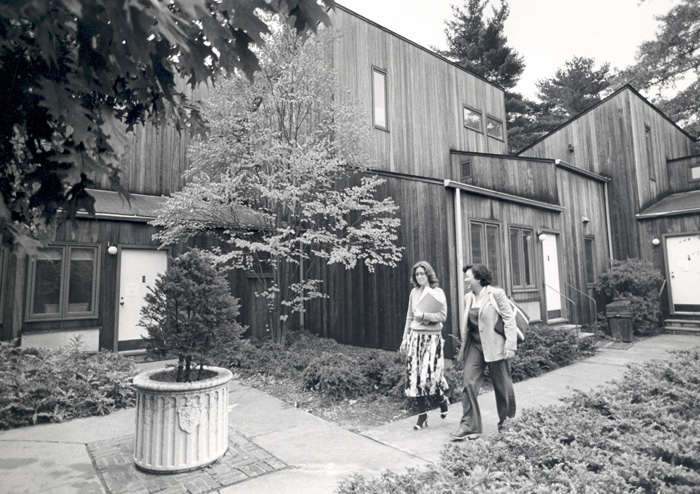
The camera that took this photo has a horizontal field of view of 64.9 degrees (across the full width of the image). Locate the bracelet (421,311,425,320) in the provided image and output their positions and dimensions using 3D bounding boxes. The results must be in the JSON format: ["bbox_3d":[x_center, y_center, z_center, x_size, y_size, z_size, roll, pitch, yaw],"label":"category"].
[{"bbox_3d":[1.039,0.960,7.825,0.042,0.120,0.104,-4,9,-26],"label":"bracelet"}]

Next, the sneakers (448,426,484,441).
[{"bbox_3d":[1.522,2.478,7.288,0.405,0.237,0.183,6,-22,-4],"label":"sneakers"}]

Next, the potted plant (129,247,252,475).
[{"bbox_3d":[-2.075,1.346,6.943,1.356,2.549,0.984,-4,9,-26],"label":"potted plant"}]

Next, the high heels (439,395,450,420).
[{"bbox_3d":[1.360,2.279,8.023,0.143,0.409,0.122,8,-9,-26],"label":"high heels"}]

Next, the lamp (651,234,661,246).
[{"bbox_3d":[8.809,-0.195,15.888,0.099,0.297,0.244,-6,10,-38],"label":"lamp"}]

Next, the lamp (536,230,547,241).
[{"bbox_3d":[4.676,-0.299,13.512,0.182,0.271,0.274,1,-9,-7],"label":"lamp"}]

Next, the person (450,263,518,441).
[{"bbox_3d":[1.857,1.374,7.457,0.767,2.182,0.896,2,8,17],"label":"person"}]

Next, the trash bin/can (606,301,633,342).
[{"bbox_3d":[6.814,1.875,13.916,0.717,1.238,0.806,-7,-17,34],"label":"trash bin/can"}]

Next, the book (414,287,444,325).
[{"bbox_3d":[1.147,0.840,7.901,0.455,0.510,0.292,1,8,8],"label":"book"}]
